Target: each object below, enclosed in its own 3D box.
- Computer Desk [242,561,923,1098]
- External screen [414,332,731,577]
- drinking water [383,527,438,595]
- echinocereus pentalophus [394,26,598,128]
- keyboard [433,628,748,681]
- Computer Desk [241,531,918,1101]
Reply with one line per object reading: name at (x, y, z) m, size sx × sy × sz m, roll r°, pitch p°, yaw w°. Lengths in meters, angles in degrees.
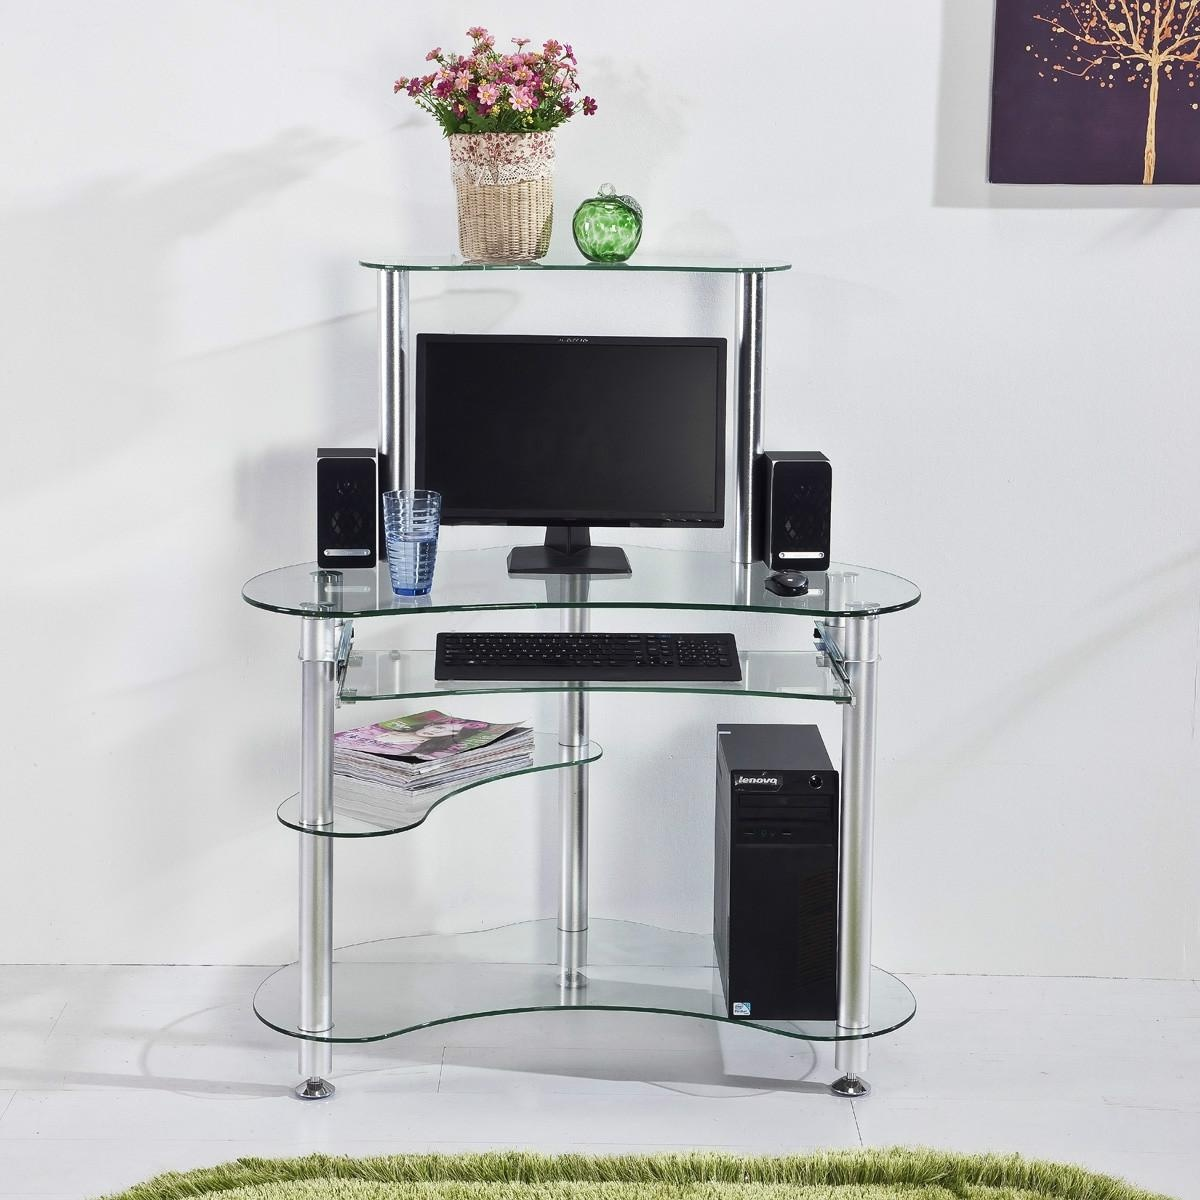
Computer Desk at (-0.027, 0.388, 2.604) m, size 1.122 × 0.761 × 0.636 m, roll 1°, pitch 5°, yaw -3°
External screen at (-0.053, -0.285, 2.638) m, size 0.572 × 0.412 × 0.092 m, roll 1°, pitch 19°, yaw 2°
drinking water at (-0.311, -0.062, 2.370) m, size 0.076 × 0.101 × 0.109 m, roll -1°, pitch 14°, yaw -9°
echinocereus pentalophus at (-0.224, -0.857, 2.493) m, size 0.425 × 0.201 × 0.287 m, roll -9°, pitch 21°, yaw -30°
keyboard at (-0.024, 0.096, 2.348) m, size 0.490 × 0.046 × 0.177 m, roll 0°, pitch 13°, yaw -3°
Computer Desk at (-0.036, 0.395, 2.608) m, size 1.151 × 0.779 × 0.644 m, roll 1°, pitch 5°, yaw -2°
